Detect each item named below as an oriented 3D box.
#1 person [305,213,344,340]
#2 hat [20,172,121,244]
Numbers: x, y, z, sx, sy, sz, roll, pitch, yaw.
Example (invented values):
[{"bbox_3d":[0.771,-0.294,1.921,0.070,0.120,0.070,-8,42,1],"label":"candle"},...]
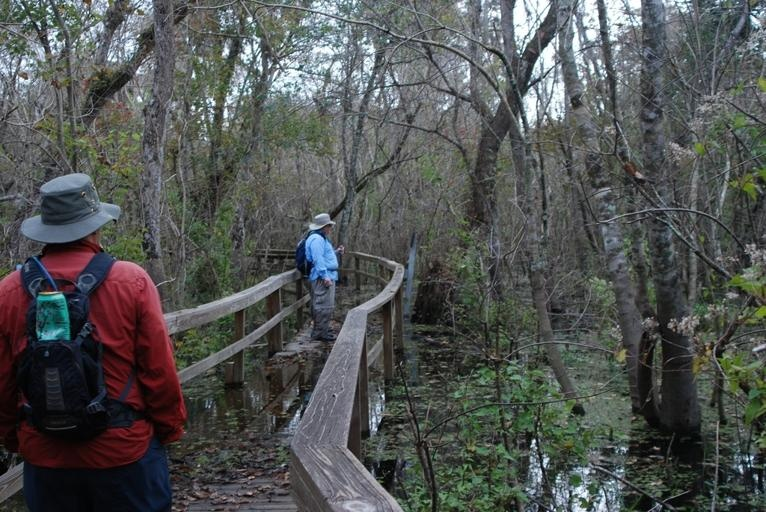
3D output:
[{"bbox_3d":[-0.983,0.324,9.960,0.507,1.999,0.623,0,-6,-7],"label":"person"},{"bbox_3d":[-2.115,-0.298,4.214,0.516,0.276,0.514,-7,20,1],"label":"hat"}]
